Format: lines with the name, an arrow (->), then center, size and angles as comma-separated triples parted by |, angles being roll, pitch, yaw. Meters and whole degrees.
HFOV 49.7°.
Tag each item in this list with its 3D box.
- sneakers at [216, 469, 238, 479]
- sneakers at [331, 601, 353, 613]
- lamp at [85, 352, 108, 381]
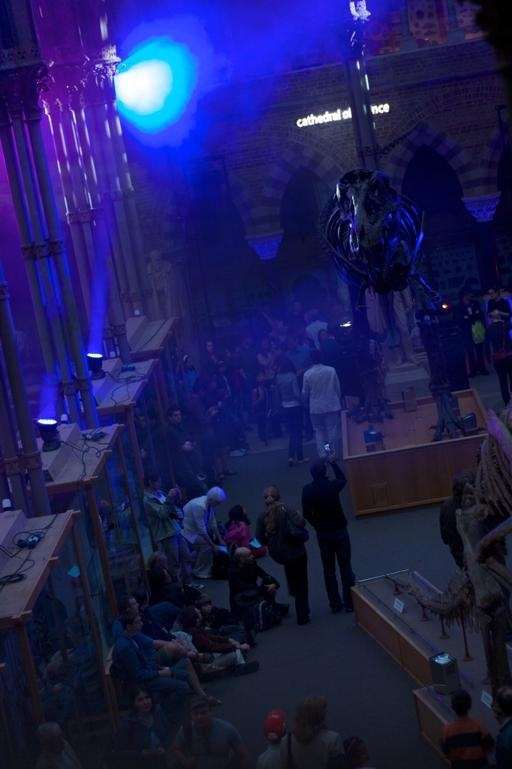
sneakers -> -0.664, 2.098, 12.778 | 0.510, 0.228, 0.162 | -9, 3, 8
sneakers -> 1.208, 3.131, 7.808 | 0.346, 0.167, 0.120 | -3, 1, 1
lamp -> -2.841, -0.330, 9.871 | 0.411, 0.491, 0.425 | -2, 0, -8
